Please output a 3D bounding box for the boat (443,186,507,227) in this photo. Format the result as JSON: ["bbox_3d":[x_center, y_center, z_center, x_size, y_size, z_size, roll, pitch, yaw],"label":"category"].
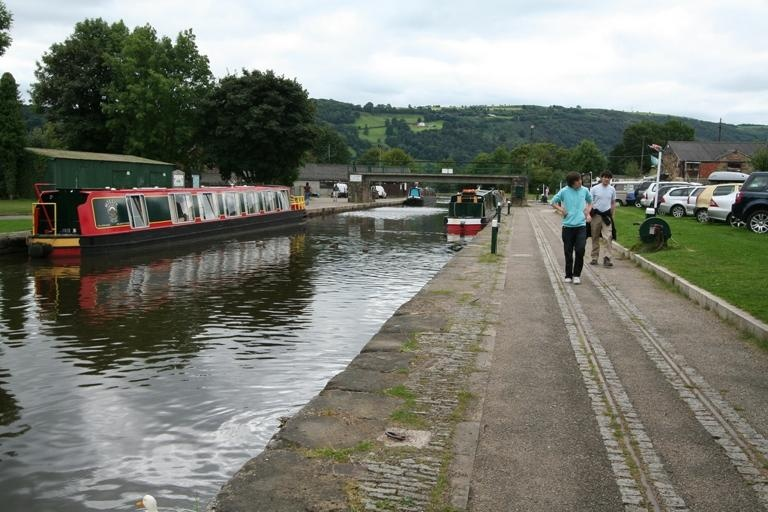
[{"bbox_3d":[6.572,-3.376,44.206,2.433,2.107,9.568,1,12,16],"label":"boat"}]

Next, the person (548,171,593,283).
[{"bbox_3d":[4.814,-0.691,15.997,0.844,2.751,1.431,3,10,17],"label":"person"}]

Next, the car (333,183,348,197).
[{"bbox_3d":[-6.544,-10.228,101.114,2.653,2.035,4.050,1,16,2],"label":"car"}]
